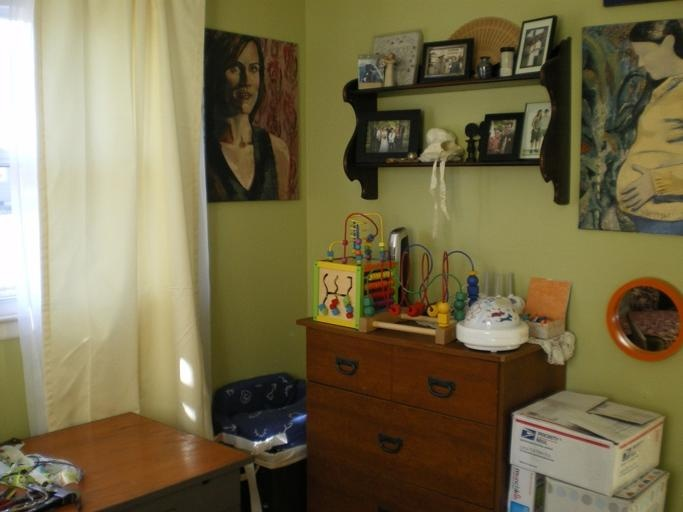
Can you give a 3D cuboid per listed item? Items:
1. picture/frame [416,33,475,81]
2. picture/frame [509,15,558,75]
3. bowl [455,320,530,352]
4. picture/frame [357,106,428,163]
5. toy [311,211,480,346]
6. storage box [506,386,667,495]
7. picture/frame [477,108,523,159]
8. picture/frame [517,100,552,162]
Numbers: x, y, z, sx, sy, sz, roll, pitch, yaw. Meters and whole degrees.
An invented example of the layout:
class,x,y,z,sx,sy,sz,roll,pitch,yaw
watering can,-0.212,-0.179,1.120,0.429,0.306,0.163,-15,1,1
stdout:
class,x,y,z,sx,sy,sz,roll,pitch,yaw
picture/frame,0.487,-0.931,2.650,0.297,0.271,0.024,-1,-8,33
picture/frame,0.822,-0.911,2.423,0.156,0.243,0.084,5,7,18
bowl,0.616,0.323,2.321,0.292,0.124,0.175,5,7,10
picture/frame,0.252,-0.598,2.803,0.284,0.262,0.024,0,0,27
toy,0.243,0.051,2.755,0.756,0.642,0.509,5,6,35
storage box,0.982,0.747,2.284,0.508,0.256,0.408,-3,9,-42
picture/frame,0.722,-0.557,2.565,0.236,0.299,0.022,1,-8,37
picture/frame,0.866,-0.562,2.499,0.132,0.259,0.012,5,-10,24
